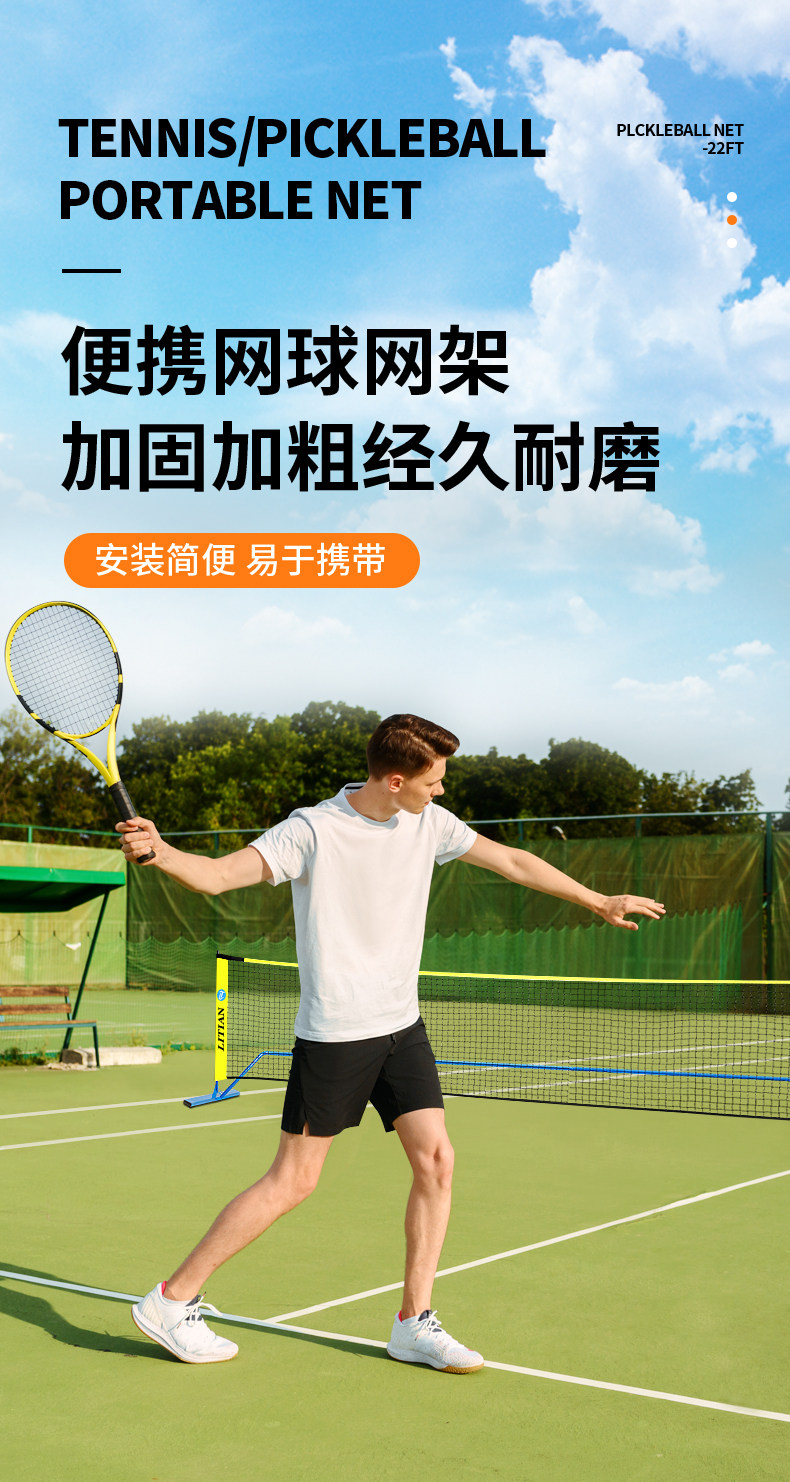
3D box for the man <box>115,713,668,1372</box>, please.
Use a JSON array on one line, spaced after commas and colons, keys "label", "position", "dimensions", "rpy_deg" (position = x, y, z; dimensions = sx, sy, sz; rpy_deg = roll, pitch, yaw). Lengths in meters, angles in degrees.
[{"label": "man", "position": [0.041, 0.789, 3.431], "dimensions": [1.509, 2.191, 1.359], "rpy_deg": [-2, -5, 15]}]
